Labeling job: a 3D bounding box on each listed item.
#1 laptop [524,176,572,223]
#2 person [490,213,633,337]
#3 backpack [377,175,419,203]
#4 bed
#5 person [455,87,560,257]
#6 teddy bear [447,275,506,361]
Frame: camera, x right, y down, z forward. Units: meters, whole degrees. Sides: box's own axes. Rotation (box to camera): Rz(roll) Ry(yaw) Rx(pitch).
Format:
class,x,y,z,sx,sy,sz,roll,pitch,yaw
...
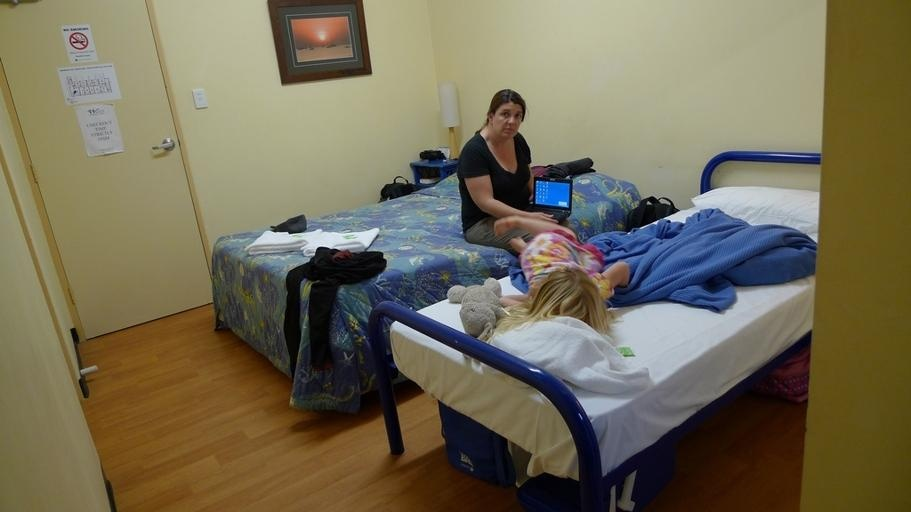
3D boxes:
class,x,y,z,sx,sy,sz,roll,pitch,yaw
laptop,0.583,-0.375,3.619,0.294,0.241,0.216,13,25,37
person,0.519,0.069,2.817,0.702,0.383,0.917,-9,33,-3
backpack,-0.525,-0.647,5.401,0.374,0.251,0.380,-10,2,-41
bed,0.630,0.640,3.566,2.403,1.074,2.572,15,26,41
person,0.400,-0.577,3.703,0.768,1.005,0.680,18,30,36
teddy bear,0.121,0.241,2.616,0.287,0.146,0.420,3,30,-3
